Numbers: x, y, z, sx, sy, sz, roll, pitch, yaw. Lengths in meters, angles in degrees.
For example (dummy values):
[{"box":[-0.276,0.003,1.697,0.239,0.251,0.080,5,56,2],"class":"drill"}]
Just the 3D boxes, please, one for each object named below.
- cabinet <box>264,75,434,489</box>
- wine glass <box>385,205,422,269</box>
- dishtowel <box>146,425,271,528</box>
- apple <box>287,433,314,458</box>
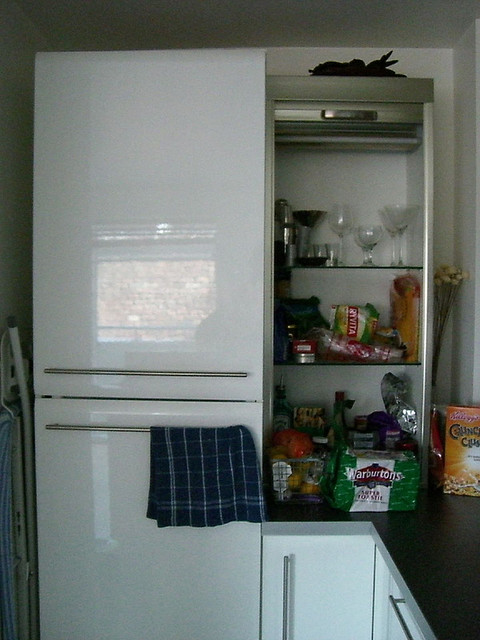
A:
[{"box":[0.349,-0.131,2.083,0.620,1.275,0.494,4,8,0],"class":"cabinet"},{"box":[0.528,-0.271,2.089,0.143,0.207,0.144,-4,-6,29],"class":"wine glass"},{"box":[-0.125,0.414,1.809,0.359,0.300,0.100,5,-28,-33],"class":"dishtowel"},{"box":[0.183,0.384,1.914,0.056,0.054,0.072,3,-8,10],"class":"apple"}]
